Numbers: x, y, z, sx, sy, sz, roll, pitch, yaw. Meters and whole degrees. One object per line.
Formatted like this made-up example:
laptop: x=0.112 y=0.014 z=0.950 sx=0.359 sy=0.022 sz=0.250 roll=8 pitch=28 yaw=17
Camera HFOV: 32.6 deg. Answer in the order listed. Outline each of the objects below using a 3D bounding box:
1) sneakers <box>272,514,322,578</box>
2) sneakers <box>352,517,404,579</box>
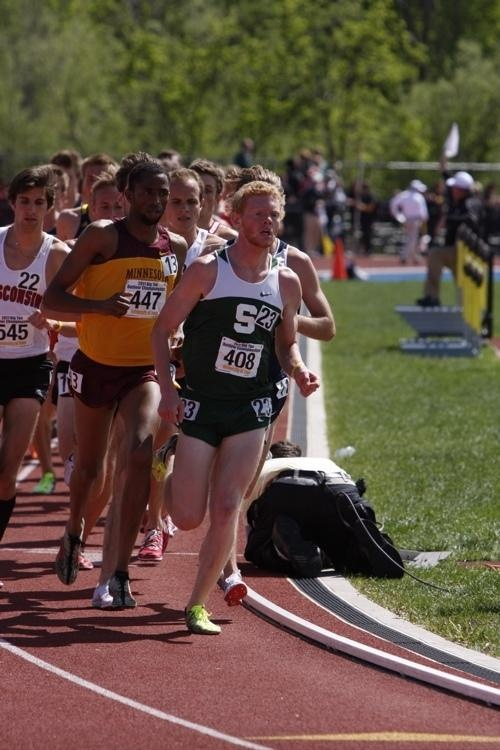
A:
sneakers: x=0.245 y=0.864 z=4.360 sx=0.137 sy=0.243 sz=0.251 roll=-26 pitch=21 yaw=-21
sneakers: x=0.650 y=0.865 z=4.273 sx=0.248 sy=0.303 sz=0.124 roll=0 pitch=1 yaw=9
